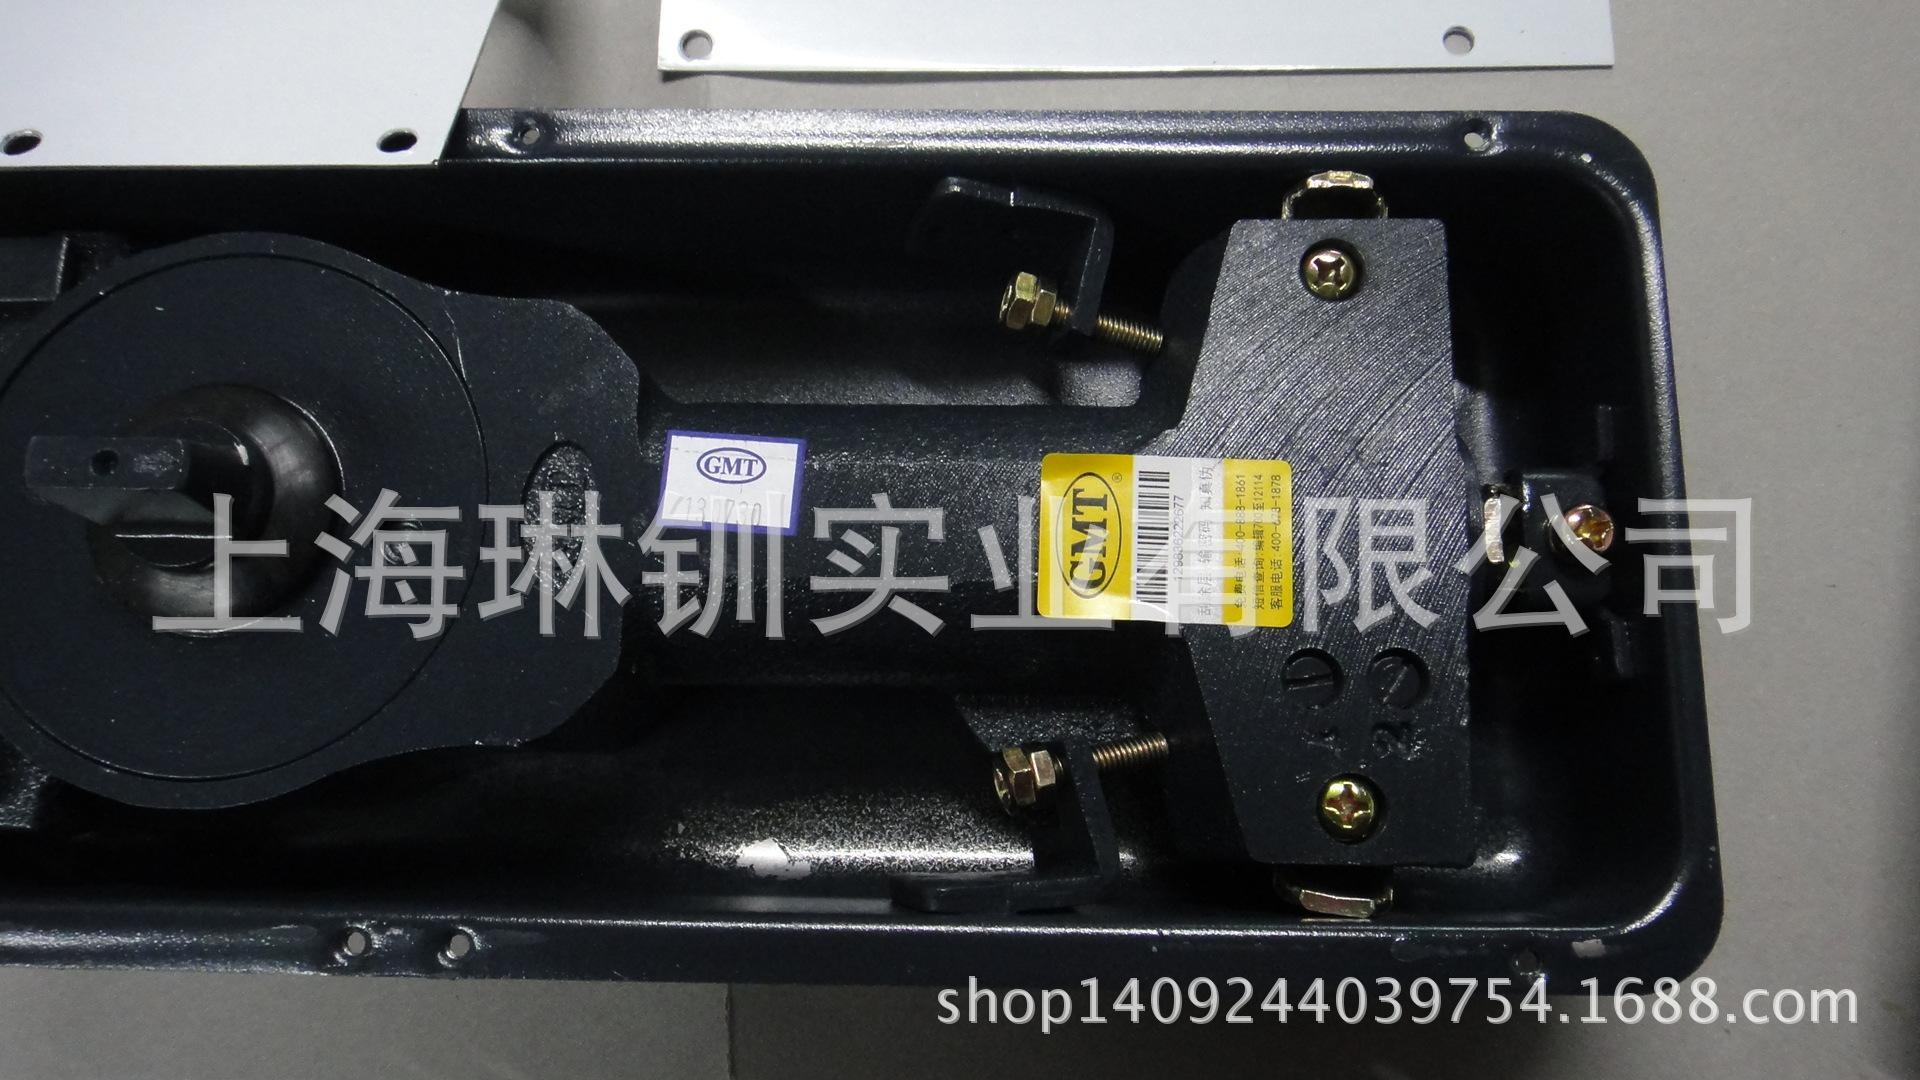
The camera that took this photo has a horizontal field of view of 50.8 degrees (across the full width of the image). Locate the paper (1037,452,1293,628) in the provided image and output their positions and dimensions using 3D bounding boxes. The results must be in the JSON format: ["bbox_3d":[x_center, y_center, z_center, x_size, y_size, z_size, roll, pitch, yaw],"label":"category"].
[{"bbox_3d":[0.212,-0.005,2.062,0.258,0.170,0.059,2,9,12],"label":"paper"}]

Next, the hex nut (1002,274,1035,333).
[{"bbox_3d":[0.063,-0.245,2.127,0.028,0.039,0.054,15,67,-2],"label":"hex nut"}]
